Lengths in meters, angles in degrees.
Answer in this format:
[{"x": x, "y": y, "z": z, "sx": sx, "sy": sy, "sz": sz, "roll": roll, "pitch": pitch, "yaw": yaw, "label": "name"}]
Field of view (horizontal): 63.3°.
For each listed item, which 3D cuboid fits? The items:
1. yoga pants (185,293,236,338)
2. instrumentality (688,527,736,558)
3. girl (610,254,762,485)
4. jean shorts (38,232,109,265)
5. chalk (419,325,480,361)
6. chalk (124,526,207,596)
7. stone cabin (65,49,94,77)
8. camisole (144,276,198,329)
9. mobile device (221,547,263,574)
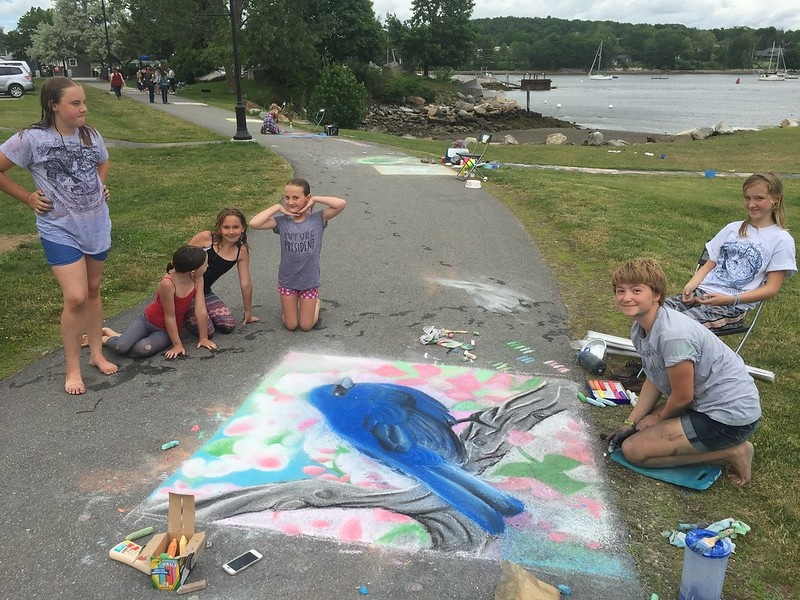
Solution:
[{"x": -1.945, "y": 0.127, "z": 6.652, "sx": 0.321, "sy": 0.175, "sz": 0.524, "roll": -37, "pitch": 49, "yaw": -27, "label": "yoga pants"}, {"x": 1.925, "y": 1.509, "z": 4.054, "sx": 0.212, "sy": 0.061, "sz": 0.198, "roll": -10, "pitch": 16, "yaw": -33, "label": "instrumentality"}, {"x": 2.188, "y": 0.554, "z": 5.059, "sx": 1.100, "sy": 1.674, "sz": 0.809, "roll": -1, "pitch": -3, "yaw": 27, "label": "girl"}, {"x": -2.747, "y": -0.396, "z": 5.490, "sx": 0.380, "sy": 0.238, "sz": 0.290, "roll": -11, "pitch": 23, "yaw": -24, "label": "jean shorts"}, {"x": 0.514, "y": 0.437, "z": 6.588, "sx": 0.383, "sy": 0.111, "sz": 0.372, "roll": -5, "pitch": 31, "yaw": 15, "label": "chalk"}, {"x": -1.452, "y": 1.650, "z": 4.129, "sx": 0.430, "sy": 0.196, "sz": 0.331, "roll": 17, "pitch": 17, "yaw": 0, "label": "chalk"}, {"x": -31.577, "y": -22.926, "z": 64.041, "sx": 1.823, "sy": 2.280, "sz": 2.706, "roll": 16, "pitch": 24, "yaw": 33, "label": "stone cabin"}, {"x": -2.205, "y": 0.035, "z": 6.276, "sx": 0.394, "sy": 0.426, "sz": 0.406, "roll": -5, "pitch": 14, "yaw": -23, "label": "camisole"}, {"x": -1.018, "y": 1.689, "z": 4.201, "sx": 0.105, "sy": 0.026, "sz": 0.198, "roll": 20, "pitch": 24, "yaw": 40, "label": "mobile device"}]
